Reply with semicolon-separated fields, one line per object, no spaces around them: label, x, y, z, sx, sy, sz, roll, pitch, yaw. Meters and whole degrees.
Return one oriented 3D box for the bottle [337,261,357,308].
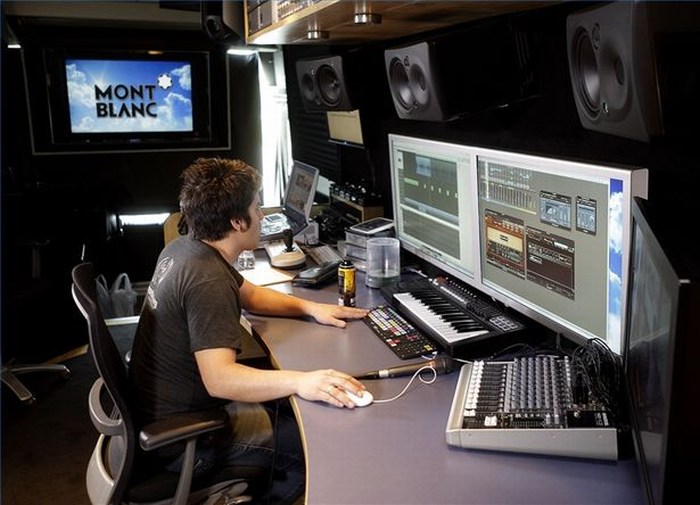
bottle;-0.020;0.158;2.232;0.081;0.324;0.077;-1;27;1

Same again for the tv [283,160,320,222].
tv;-0.366;-0.453;3.578;0.050;0.457;0.487;12;25;-29

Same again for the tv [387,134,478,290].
tv;0.393;-0.195;2.238;0.042;0.533;0.722;-11;14;-18

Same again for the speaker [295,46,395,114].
speaker;-0.020;-1.131;3.084;0.454;0.428;0.677;-17;11;-22

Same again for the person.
person;-0.460;0.098;2.530;1.258;2.033;1.135;-5;18;-25

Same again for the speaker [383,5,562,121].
speaker;0.450;-0.800;2.105;0.705;0.407;0.381;0;15;26
